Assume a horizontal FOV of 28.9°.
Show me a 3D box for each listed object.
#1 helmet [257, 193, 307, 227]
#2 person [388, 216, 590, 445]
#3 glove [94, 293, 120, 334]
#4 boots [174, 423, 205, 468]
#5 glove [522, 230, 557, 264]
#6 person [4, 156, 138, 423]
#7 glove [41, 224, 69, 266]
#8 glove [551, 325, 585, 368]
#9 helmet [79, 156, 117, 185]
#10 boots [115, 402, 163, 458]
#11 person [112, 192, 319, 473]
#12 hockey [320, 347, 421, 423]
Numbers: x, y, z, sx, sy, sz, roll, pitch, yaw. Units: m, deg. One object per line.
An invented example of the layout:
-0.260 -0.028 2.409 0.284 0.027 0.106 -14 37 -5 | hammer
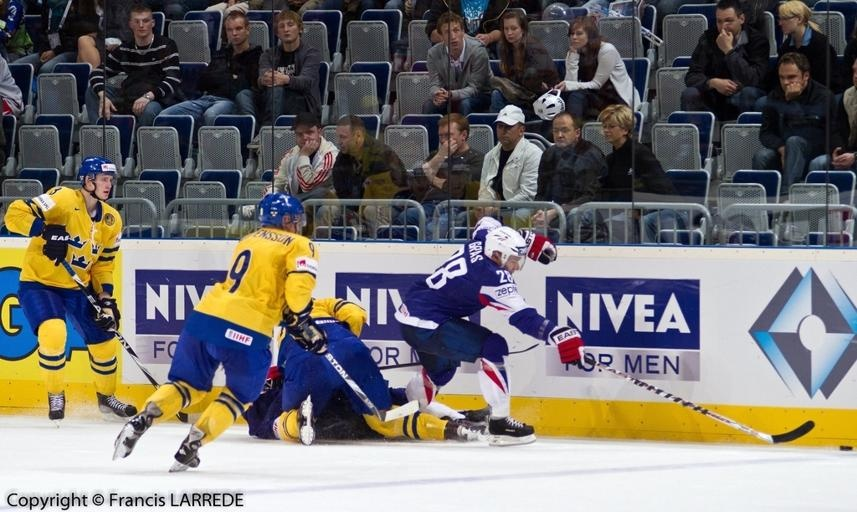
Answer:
-1.154 -0.414 13.056 0.312 0.264 0.231 -17 23 -19 | helmet
0.437 0.479 13.434 1.041 2.098 1.150 -1 3 -22 | person
-2.651 0.471 13.888 0.125 0.282 0.211 -17 -16 14 | glove
-1.780 1.477 12.466 0.138 0.420 0.186 27 18 3 | boots
0.892 -0.073 13.401 0.315 0.195 0.123 22 36 2 | glove
-3.067 0.339 14.151 0.962 2.416 0.913 -1 3 -24 | person
-3.053 -0.124 13.723 0.204 0.288 0.119 3 5 -13 | glove
1.099 0.713 13.138 0.233 0.312 0.131 -18 7 17 | glove
-2.749 -0.744 13.947 0.250 0.202 0.204 4 2 6 | helmet
-2.168 1.320 12.472 0.360 0.419 0.186 -1 2 -11 | boots
-1.503 0.700 12.669 1.425 1.818 0.511 0 2 -6 | person
-0.442 1.037 13.279 0.828 0.603 0.427 -1 2 -14 | hockey
